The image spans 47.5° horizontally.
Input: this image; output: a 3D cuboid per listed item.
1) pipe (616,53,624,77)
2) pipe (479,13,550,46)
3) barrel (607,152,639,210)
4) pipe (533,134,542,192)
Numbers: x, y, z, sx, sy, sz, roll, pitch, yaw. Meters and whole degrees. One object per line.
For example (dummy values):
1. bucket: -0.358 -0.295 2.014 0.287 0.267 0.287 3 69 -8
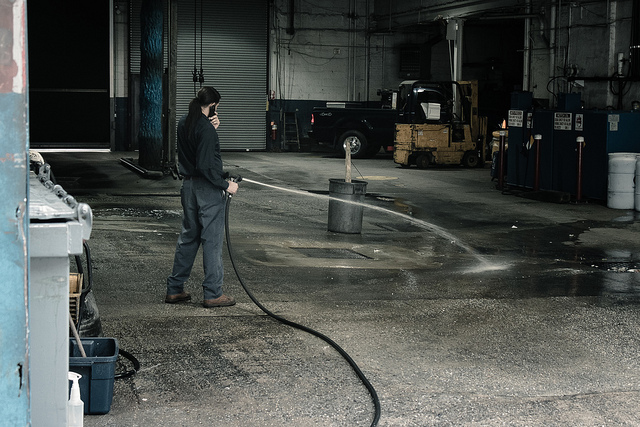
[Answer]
1. pipe: 7.667 -3.835 18.596 0.127 0.518 0.299 5 11 15
2. pipe: 5.959 -5.670 22.395 0.966 1.038 3.262 1 11 -7
3. barrel: 6.265 -0.676 15.111 0.602 1.177 0.328 7 12 21
4. pipe: 4.994 -1.112 16.720 0.199 1.527 0.203 10 34 30
